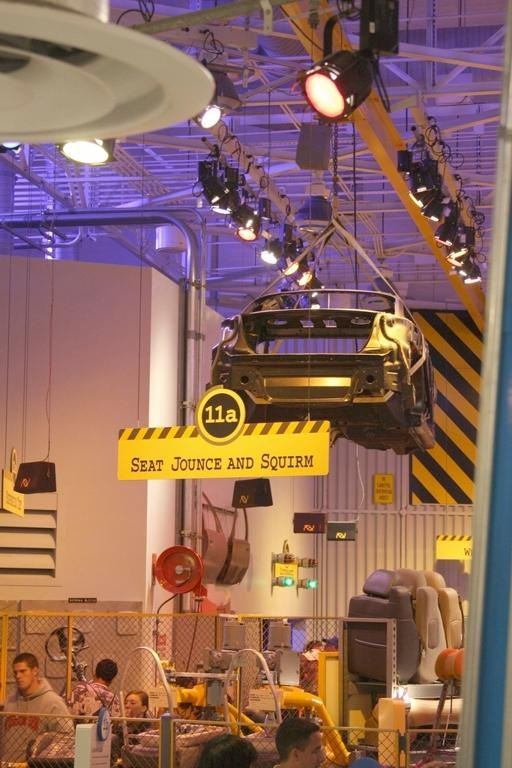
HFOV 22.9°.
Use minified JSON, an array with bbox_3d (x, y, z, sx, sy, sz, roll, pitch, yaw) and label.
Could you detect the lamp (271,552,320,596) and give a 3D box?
[{"bbox_3d":[0.546,2.759,18.330,0.502,0.797,1.164,-1,-8,18],"label":"lamp"}]
